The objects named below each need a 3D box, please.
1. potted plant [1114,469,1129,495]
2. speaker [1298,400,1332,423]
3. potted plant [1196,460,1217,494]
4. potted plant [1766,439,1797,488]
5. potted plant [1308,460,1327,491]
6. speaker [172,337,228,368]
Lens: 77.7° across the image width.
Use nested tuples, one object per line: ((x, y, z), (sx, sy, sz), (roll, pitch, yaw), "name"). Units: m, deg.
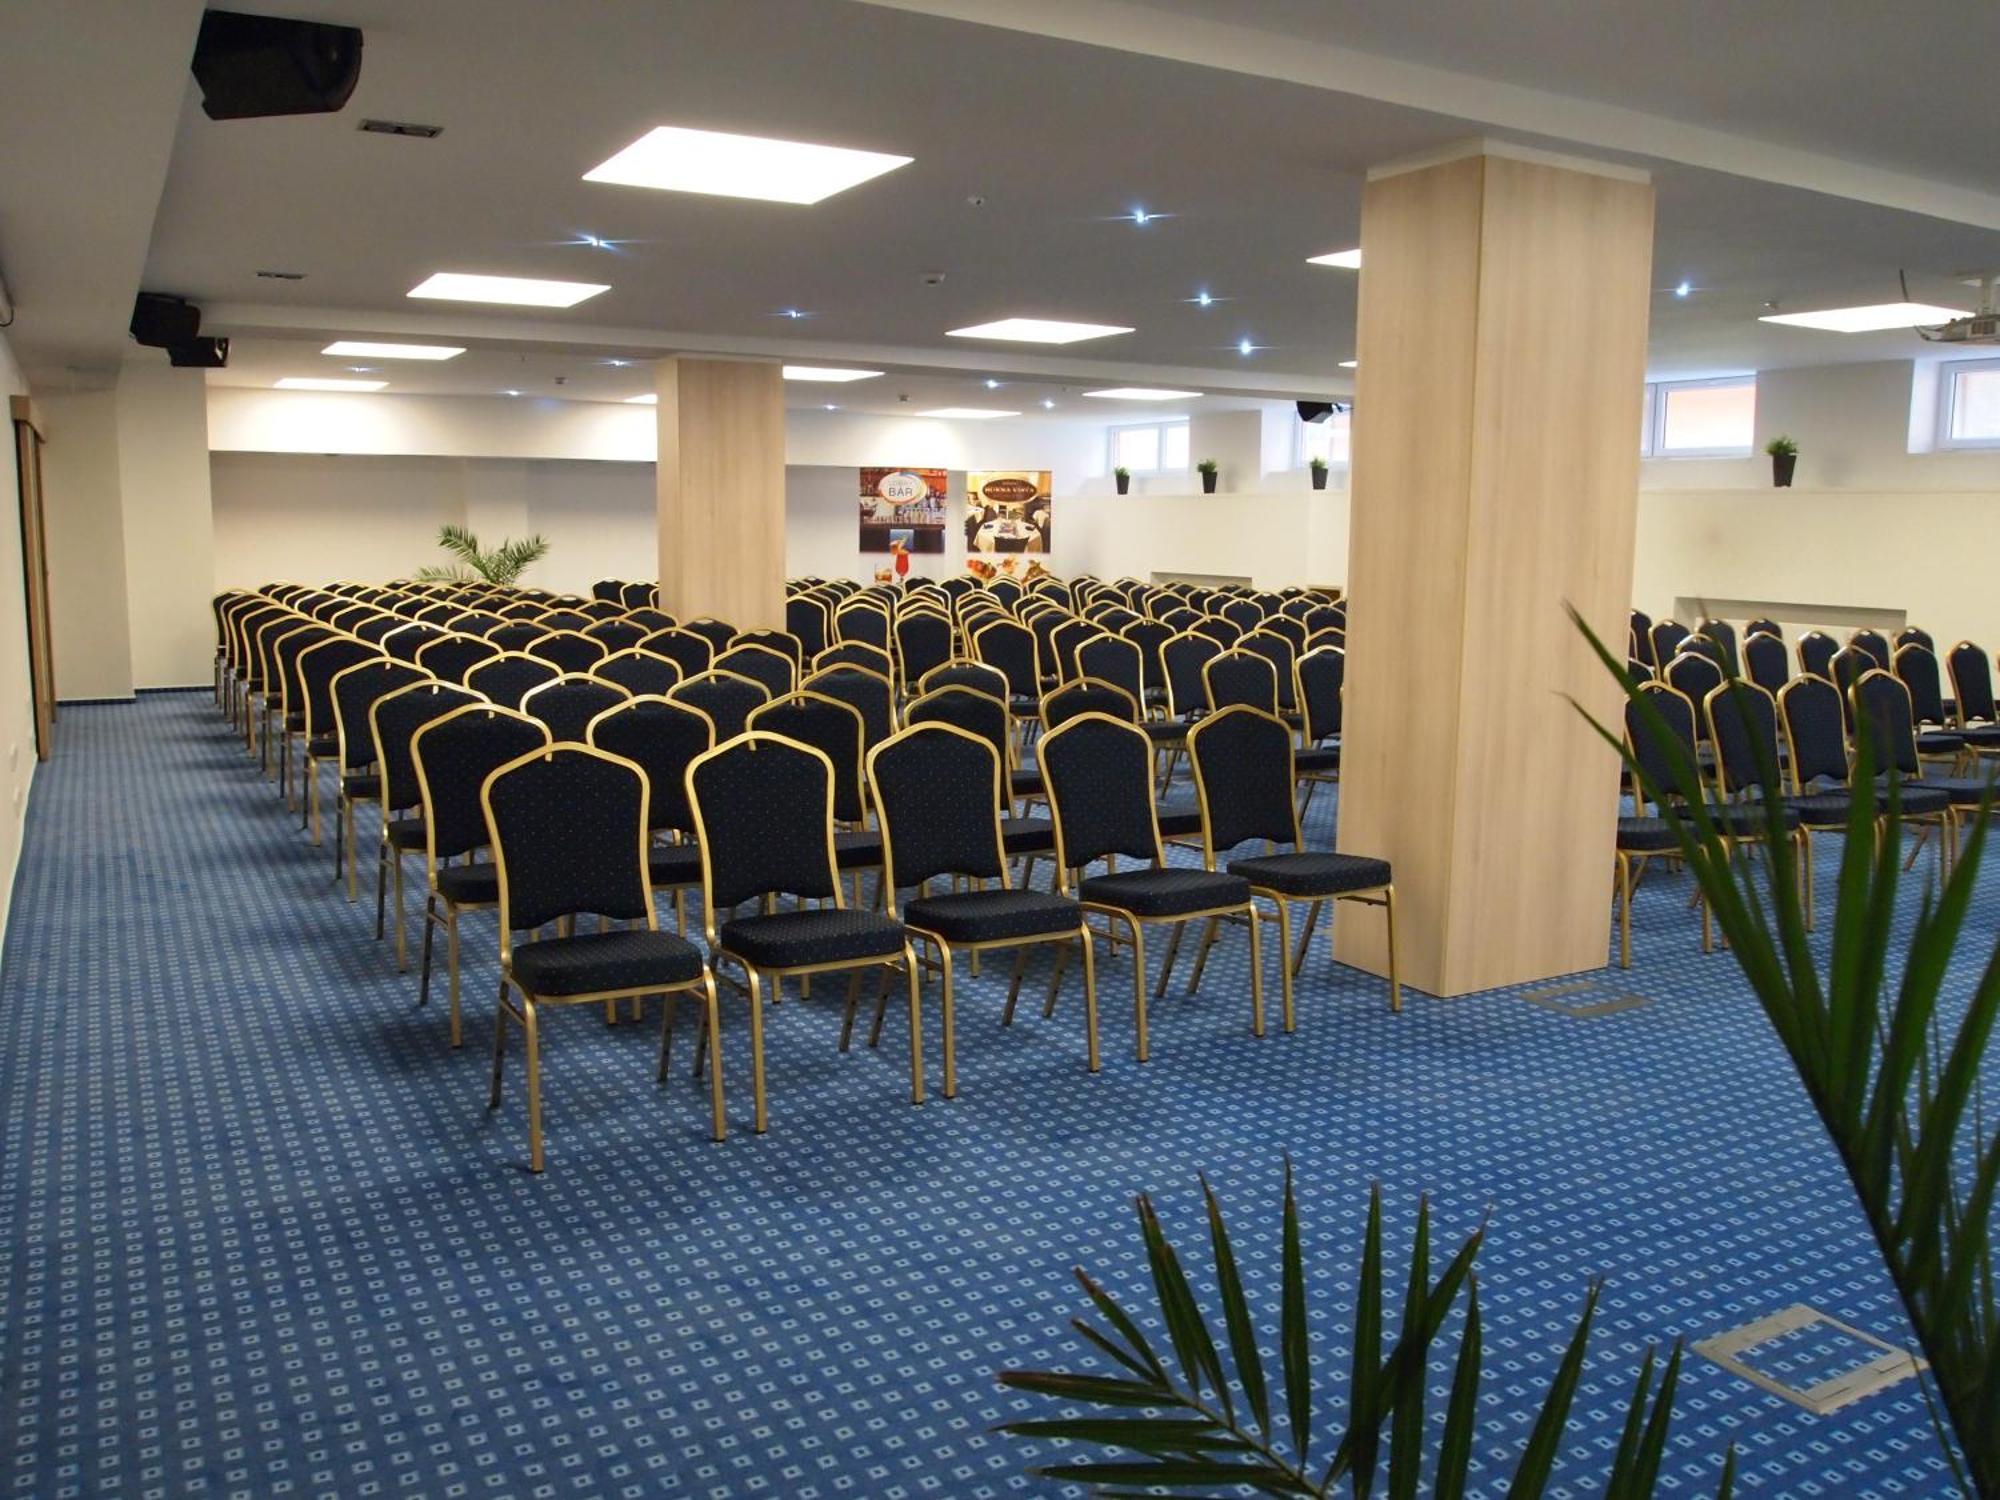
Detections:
((2.435, -5.332, 24.567), (0.286, 0.533, 0.459), (2, 10, 8), "potted plant")
((4.692, -4.998, 18.521), (0.491, 0.214, 2.098), (3, 9, 13), "speaker")
((3.683, -4.853, 22.091), (0.367, 0.603, 0.501), (5, 10, 22), "potted plant")
((9.506, -3.494, 15.165), (0.311, 0.600, 0.474), (7, 11, 31), "potted plant")
((5.081, -4.438, 20.009), (0.390, 0.433, 0.368), (-1, 2, -12), "potted plant")
((-7.026, -3.564, 10.940), (0.326, 0.239, 0.600), (-2, 10, -15), "speaker")
